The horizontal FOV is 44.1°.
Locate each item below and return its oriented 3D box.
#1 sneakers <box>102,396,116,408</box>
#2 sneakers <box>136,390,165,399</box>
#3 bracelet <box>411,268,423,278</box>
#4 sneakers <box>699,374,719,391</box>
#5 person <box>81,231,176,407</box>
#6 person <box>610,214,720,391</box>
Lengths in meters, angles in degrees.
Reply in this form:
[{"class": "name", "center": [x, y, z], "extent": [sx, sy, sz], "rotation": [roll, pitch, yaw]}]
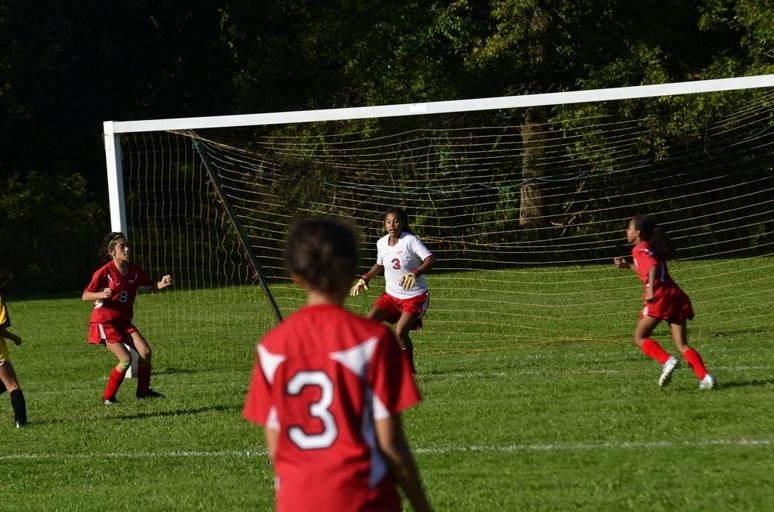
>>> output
[{"class": "sneakers", "center": [-4.801, 2.526, 16.476], "extent": [0.237, 0.160, 0.127], "rotation": [12, -13, -30]}, {"class": "sneakers", "center": [-4.178, 2.442, 16.712], "extent": [0.549, 0.229, 0.185], "rotation": [-2, -2, 2]}, {"class": "bracelet", "center": [0.499, 0.281, 16.210], "extent": [0.149, 0.142, 0.147], "rotation": [17, 23, -26]}, {"class": "sneakers", "center": [5.355, 2.133, 15.944], "extent": [0.165, 0.184, 0.378], "rotation": [-7, 6, 9]}, {"class": "person", "center": [-4.534, 1.063, 16.315], "extent": [1.192, 3.016, 1.110], "rotation": [-3, 1, -15]}, {"class": "person", "center": [4.578, 0.792, 16.011], "extent": [1.316, 2.489, 0.526], "rotation": [-3, 1, -9]}]
